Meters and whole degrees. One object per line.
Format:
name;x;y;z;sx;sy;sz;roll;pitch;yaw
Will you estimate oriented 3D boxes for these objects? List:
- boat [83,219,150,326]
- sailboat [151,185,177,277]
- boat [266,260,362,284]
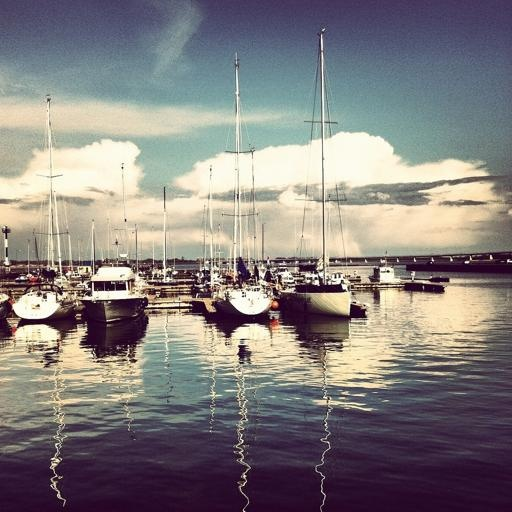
boat;-9.112;2.669;41.892;3.408;3.576;5.820;-2;6;-9
sailboat;-13.826;0.562;99.042;1.808;13.709;2.202;7;-1;-25
boat;9.585;2.424;107.269;12.892;4.150;10.099;-2;-2;5
